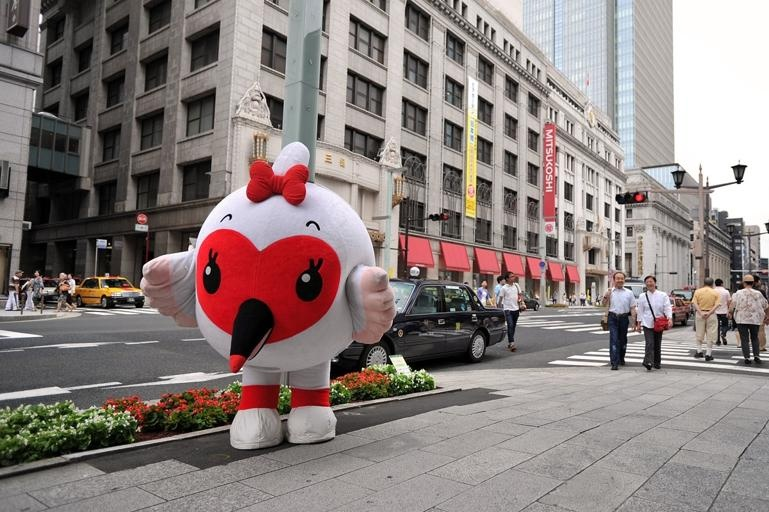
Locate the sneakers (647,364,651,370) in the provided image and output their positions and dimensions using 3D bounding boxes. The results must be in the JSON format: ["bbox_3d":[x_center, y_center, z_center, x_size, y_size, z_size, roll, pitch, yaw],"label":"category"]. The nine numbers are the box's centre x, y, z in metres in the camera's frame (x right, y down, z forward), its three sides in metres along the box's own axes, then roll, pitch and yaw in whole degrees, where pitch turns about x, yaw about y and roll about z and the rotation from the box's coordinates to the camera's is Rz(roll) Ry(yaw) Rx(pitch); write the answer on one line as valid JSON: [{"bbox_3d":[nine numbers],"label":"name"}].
[{"bbox_3d":[6.548,2.755,13.971,0.129,0.117,0.109,-10,-2,40],"label":"sneakers"}]

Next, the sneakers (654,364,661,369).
[{"bbox_3d":[6.910,2.778,14.247,0.079,0.112,0.252,-7,-15,30],"label":"sneakers"}]

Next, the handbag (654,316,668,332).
[{"bbox_3d":[6.732,1.642,13.735,0.317,0.365,0.331,1,2,20],"label":"handbag"}]

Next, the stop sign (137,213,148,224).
[{"bbox_3d":[-13.861,-2.139,32.172,0.606,0.793,0.121,6,9,-30],"label":"stop sign"}]

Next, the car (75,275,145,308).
[{"bbox_3d":[-14.443,1.904,29.541,3.869,1.552,1.573,2,2,32],"label":"car"}]

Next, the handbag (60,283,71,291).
[{"bbox_3d":[-14.342,1.393,25.350,0.162,0.324,0.435,1,2,26],"label":"handbag"}]

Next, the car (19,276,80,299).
[{"bbox_3d":[-16.405,1.551,27.606,2.013,1.062,1.261,-7,-8,40],"label":"car"}]
